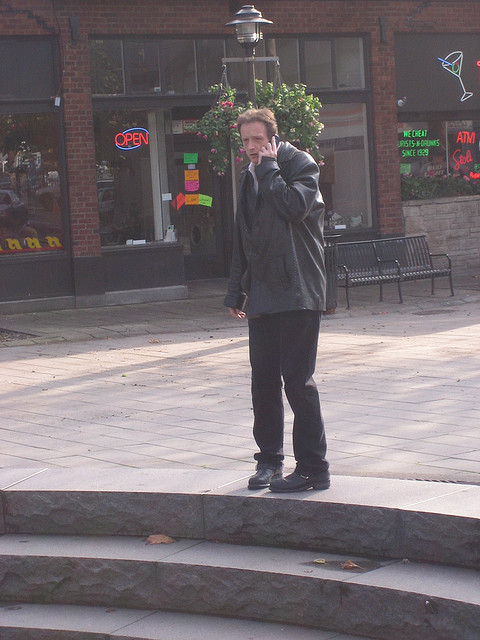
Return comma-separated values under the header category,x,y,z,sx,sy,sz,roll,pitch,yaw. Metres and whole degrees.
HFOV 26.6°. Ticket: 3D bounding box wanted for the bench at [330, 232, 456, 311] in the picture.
category,x,y,z,sx,sy,sz,roll,pitch,yaw
bench,1.963,-0.650,13.896,1.896,0.819,0.659,-8,10,-29
